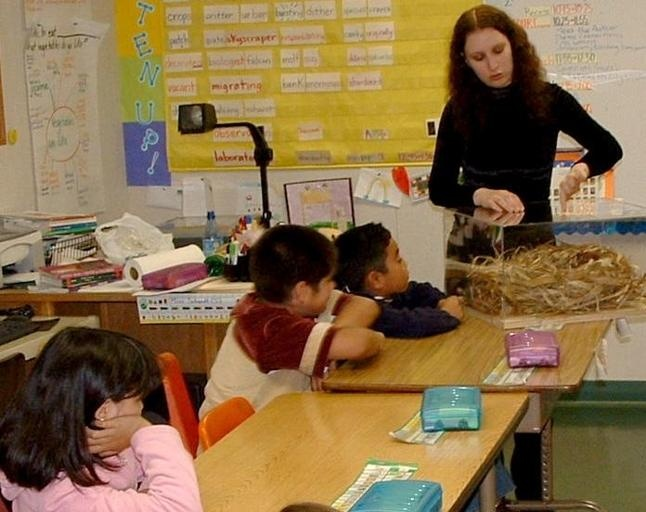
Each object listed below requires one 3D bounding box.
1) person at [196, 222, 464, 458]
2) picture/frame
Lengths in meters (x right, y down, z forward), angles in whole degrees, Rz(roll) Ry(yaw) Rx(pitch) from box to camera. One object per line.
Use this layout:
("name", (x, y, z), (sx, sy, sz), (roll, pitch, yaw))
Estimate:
("person", (-0.036, 0.075, 1.826), (0.572, 0.962, 0.475), (-6, 23, -11))
("picture/frame", (-0.007, -0.253, 2.995), (0.410, 0.421, 0.031), (-3, 1, -4))
